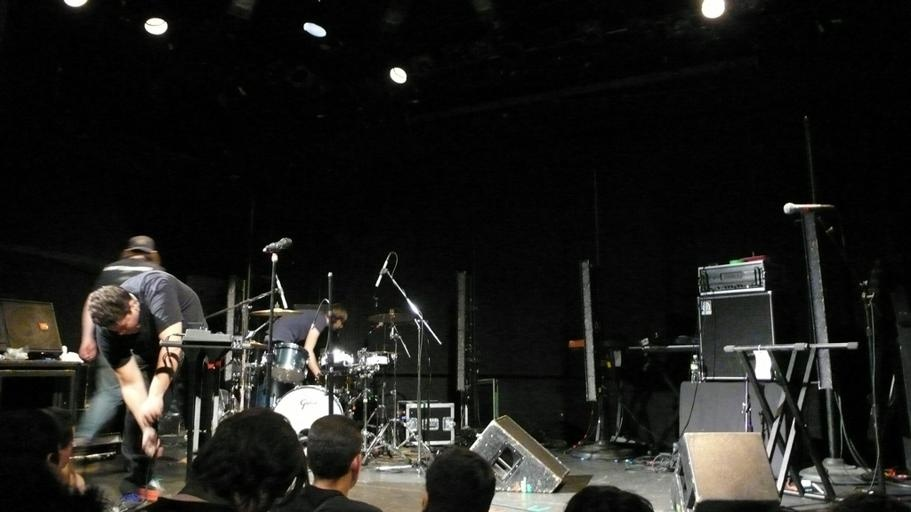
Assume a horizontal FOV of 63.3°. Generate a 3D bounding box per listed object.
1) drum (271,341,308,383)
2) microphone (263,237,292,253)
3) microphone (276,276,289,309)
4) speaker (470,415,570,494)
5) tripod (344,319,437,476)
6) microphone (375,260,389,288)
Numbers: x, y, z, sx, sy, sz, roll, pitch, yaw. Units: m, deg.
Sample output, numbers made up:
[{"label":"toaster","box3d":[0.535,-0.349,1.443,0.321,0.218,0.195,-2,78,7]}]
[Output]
[{"label":"drum","box3d":[-2.302,1.479,10.260,0.476,0.521,0.694,3,-11,-13]},{"label":"microphone","box3d":[-2.614,-0.163,10.725,0.441,0.170,0.284,-7,-8,-1]},{"label":"microphone","box3d":[-2.744,0.602,11.678,0.094,0.523,0.089,-18,-5,2]},{"label":"speaker","box3d":[0.789,2.416,8.828,1.123,0.620,1.080,0,-12,18]},{"label":"tripod","box3d":[-0.886,2.042,10.443,1.655,2.109,1.194,10,-18,-35]},{"label":"microphone","box3d":[-1.161,0.300,11.621,0.101,0.442,0.153,32,-20,-23]}]
